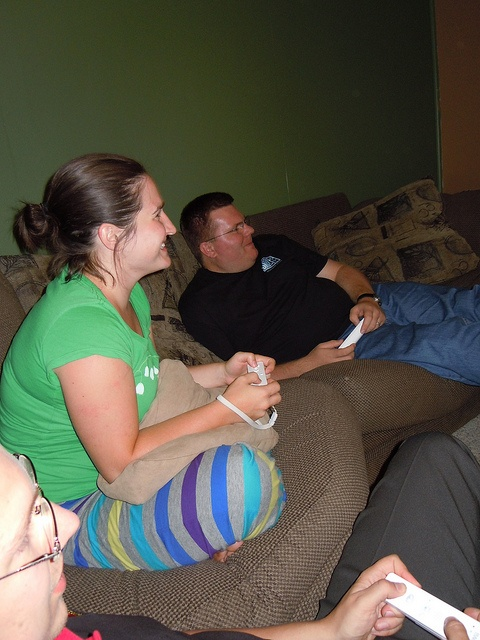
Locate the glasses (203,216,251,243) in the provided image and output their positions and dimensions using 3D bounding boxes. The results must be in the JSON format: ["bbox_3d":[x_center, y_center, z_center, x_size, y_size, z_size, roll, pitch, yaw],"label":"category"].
[{"bbox_3d":[-0.049,-0.364,2.189,0.127,0.035,0.120,-26,10,7],"label":"glasses"}]

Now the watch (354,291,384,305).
[{"bbox_3d":[0.514,-0.087,2.122,0.065,0.025,0.063,-25,33,7],"label":"watch"}]
